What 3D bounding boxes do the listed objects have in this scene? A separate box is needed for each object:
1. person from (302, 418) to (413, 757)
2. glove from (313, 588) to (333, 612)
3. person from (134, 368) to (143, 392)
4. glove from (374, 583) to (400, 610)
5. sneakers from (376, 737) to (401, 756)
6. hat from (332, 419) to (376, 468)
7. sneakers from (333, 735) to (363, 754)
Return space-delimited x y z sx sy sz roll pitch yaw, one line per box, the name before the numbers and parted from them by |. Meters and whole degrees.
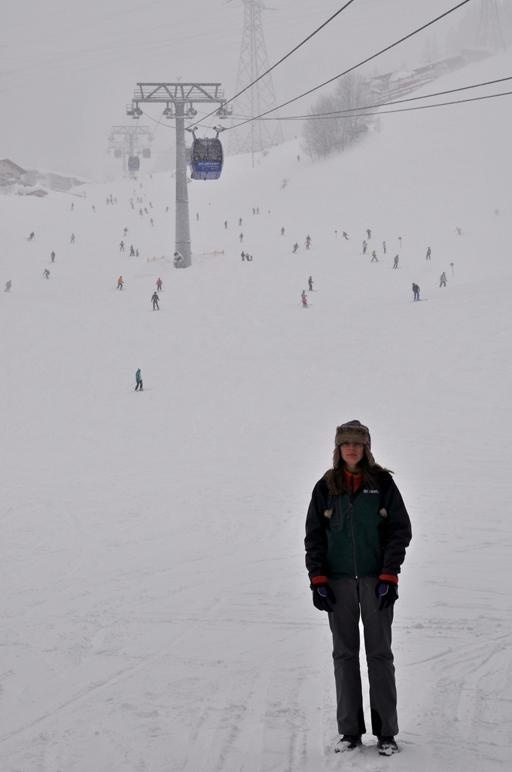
person | 0.520 1.047 4.577 0.550 1.685 0.499 -3 3 19
glove | 0.355 1.091 4.556 0.087 0.135 0.069 -10 9 32
person | -2.853 -0.132 21.539 0.210 0.536 1.211 -4 3 -8
glove | 0.667 1.050 4.481 0.051 0.147 0.102 -1 -10 31
sneakers | 0.650 1.788 4.377 0.107 0.070 0.119 -4 3 8
hat | 0.522 0.312 4.751 0.195 0.239 0.235 0 -13 5
sneakers | 0.455 1.809 4.467 0.069 0.064 0.128 -9 -16 8
